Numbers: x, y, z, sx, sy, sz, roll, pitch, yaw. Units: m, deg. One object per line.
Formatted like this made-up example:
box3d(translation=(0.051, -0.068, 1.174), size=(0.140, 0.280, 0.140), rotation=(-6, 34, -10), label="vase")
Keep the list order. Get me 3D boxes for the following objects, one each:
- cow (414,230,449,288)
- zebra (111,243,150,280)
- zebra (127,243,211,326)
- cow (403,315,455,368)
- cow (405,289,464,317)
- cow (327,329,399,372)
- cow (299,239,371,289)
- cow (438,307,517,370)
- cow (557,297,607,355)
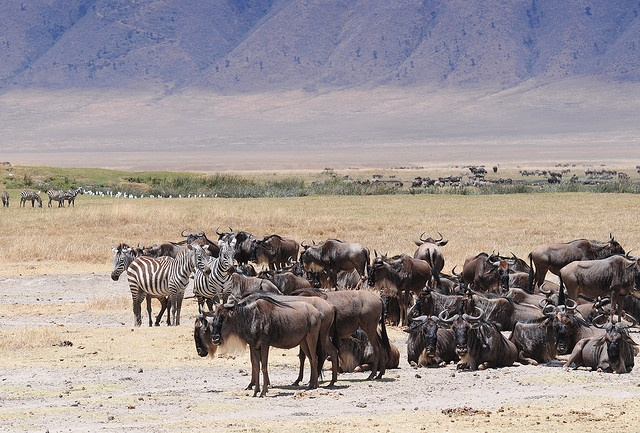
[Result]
box3d(translation=(4.695, 1.662, 44.216), size=(0.974, 1.595, 2.779), rotation=(-1, 11, 0), label="cow")
box3d(translation=(-7.737, 1.731, 42.535), size=(1.067, 1.642, 1.529), rotation=(-1, 10, 2), label="zebra")
box3d(translation=(-5.776, 2.731, 40.810), size=(3.882, 3.221, 1.453), rotation=(-1, 2, 33), label="zebra")
box3d(translation=(3.857, 4.359, 36.284), size=(1.393, 1.961, 1.886), rotation=(0, 7, 1), label="cow")
box3d(translation=(4.223, 3.202, 38.309), size=(1.999, 1.165, 0.869), rotation=(-2, -2, -4), label="cow")
box3d(translation=(1.386, 4.766, 35.961), size=(2.763, 1.704, 0.882), rotation=(2, -2, -11), label="cow")
box3d(translation=(0.743, 2.033, 44.571), size=(2.758, 2.075, 0.955), rotation=(0, 5, 8), label="cow")
box3d(translation=(5.570, 4.281, 35.683), size=(2.221, 1.893, 0.631), rotation=(-2, 5, -11), label="cow")
box3d(translation=(9.481, 3.748, 36.552), size=(1.081, 2.076, 2.789), rotation=(-12, -11, 36), label="cow")
